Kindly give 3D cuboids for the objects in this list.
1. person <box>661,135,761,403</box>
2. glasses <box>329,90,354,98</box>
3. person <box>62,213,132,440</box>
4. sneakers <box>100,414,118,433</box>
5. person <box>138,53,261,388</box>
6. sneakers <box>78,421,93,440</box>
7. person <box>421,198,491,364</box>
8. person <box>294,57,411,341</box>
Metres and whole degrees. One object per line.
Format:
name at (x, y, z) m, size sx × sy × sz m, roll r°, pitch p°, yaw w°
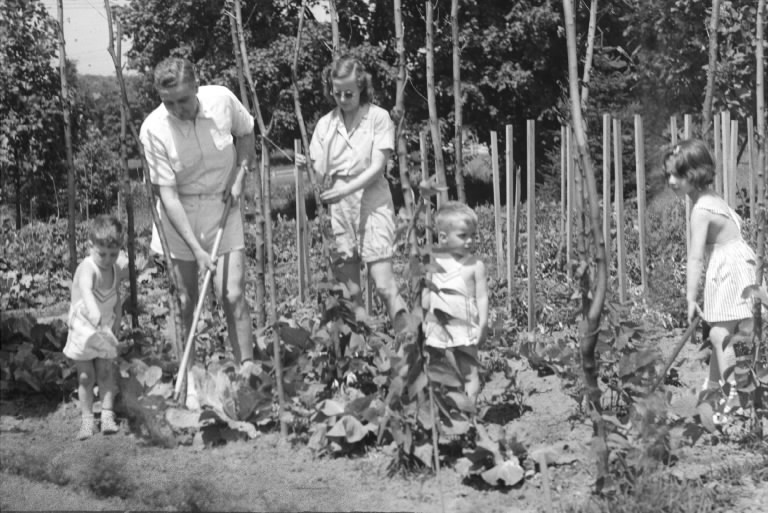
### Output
person at (2.702, 0.110, 8.493) m, size 0.709 × 2.151 × 0.926 m, roll -2°, pitch 8°, yaw 17°
glasses at (-0.349, -1.362, 8.677) m, size 0.188 × 0.066 × 0.077 m, roll -3°, pitch 8°, yaw 15°
person at (-2.438, 0.586, 8.724) m, size 0.556 × 1.841 × 0.335 m, roll -7°, pitch 8°, yaw -19°
sneakers at (-2.336, 1.405, 8.732) m, size 0.147 × 0.170 × 0.114 m, roll -7°, pitch 8°, yaw -17°
person at (-1.536, -0.376, 8.777) m, size 0.944 × 2.593 × 0.563 m, roll -5°, pitch 8°, yaw -9°
sneakers at (-2.527, 1.457, 8.714) m, size 0.127 × 0.145 × 0.097 m, roll -5°, pitch 8°, yaw -3°
person at (0.544, 0.193, 8.241) m, size 0.499 × 1.235 × 0.746 m, roll -3°, pitch 8°, yaw 12°
person at (-0.254, -0.532, 8.723) m, size 0.757 × 2.290 × 0.808 m, roll -4°, pitch 8°, yaw 1°
